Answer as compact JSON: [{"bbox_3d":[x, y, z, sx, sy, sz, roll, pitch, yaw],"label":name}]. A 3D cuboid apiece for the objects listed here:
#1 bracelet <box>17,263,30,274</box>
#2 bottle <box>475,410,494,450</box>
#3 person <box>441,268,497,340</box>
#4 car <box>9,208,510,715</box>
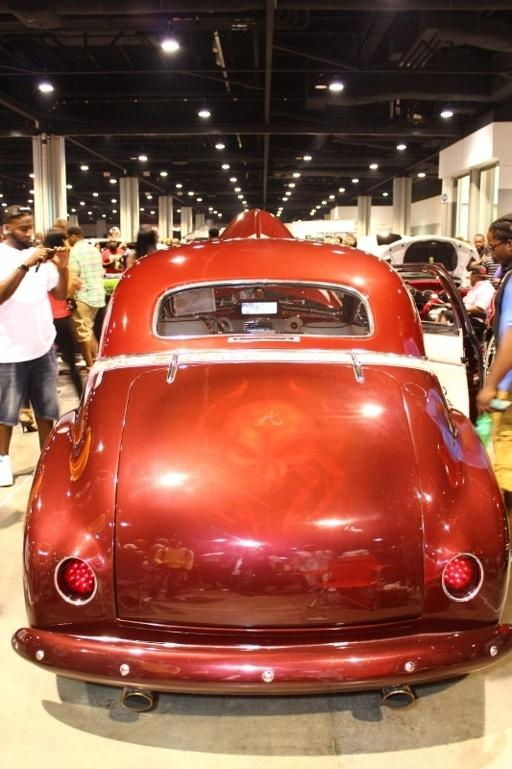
[{"bbox_3d":[-1.414,-0.708,3.400,0.064,0.048,0.069,6,12,-43],"label":"bracelet"},{"bbox_3d":[0.999,0.205,2.427,0.103,0.187,0.049,13,-16,-28],"label":"bottle"},{"bbox_3d":[2.675,-1.000,7.056,0.606,0.981,0.532,-8,21,3],"label":"person"},{"bbox_3d":[0.014,-0.033,2.169,1.171,0.874,2.072,0,16,2],"label":"car"}]
